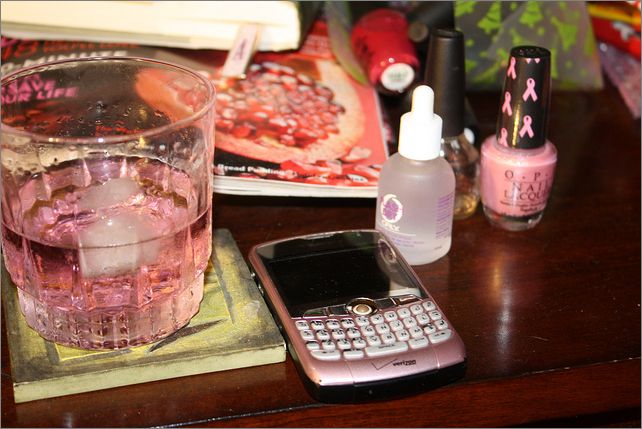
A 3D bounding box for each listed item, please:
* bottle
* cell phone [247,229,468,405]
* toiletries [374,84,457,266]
[{"bbox_3d":[0.087,-0.046,0.559,0.100,0.153,0.085,23,45,24],"label":"bottle"},{"bbox_3d":[0.032,0.059,0.444,0.112,0.034,0.152,-9,36,-18],"label":"cell phone"},{"bbox_3d":[0.094,-0.041,0.564,0.101,0.152,0.086,26,45,29],"label":"toiletries"}]
